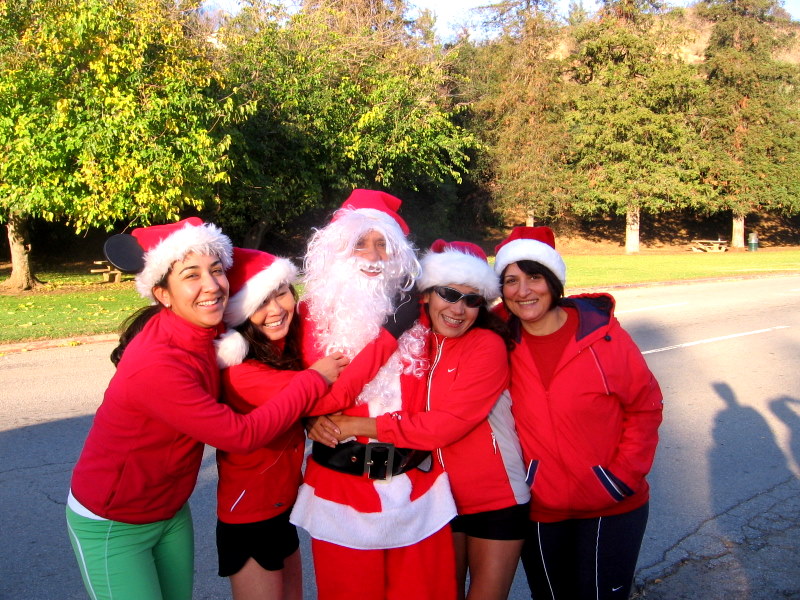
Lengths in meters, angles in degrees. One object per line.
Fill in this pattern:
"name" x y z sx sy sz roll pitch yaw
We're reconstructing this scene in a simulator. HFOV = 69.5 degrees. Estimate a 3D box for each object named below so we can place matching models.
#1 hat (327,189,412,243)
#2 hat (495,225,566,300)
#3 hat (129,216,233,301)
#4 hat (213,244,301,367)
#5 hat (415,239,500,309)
"hat" -0.120 -0.492 3.350 0.294 0.153 0.367 17 3 34
"hat" 0.798 -0.251 3.547 0.367 0.406 0.417 6 9 13
"hat" -1.085 -0.252 2.918 0.372 0.267 0.429 -20 9 -2
"hat" -0.805 -0.040 3.032 0.430 0.559 0.387 -14 36 -37
"hat" 0.311 -0.195 3.142 0.343 0.321 0.436 5 -14 6
